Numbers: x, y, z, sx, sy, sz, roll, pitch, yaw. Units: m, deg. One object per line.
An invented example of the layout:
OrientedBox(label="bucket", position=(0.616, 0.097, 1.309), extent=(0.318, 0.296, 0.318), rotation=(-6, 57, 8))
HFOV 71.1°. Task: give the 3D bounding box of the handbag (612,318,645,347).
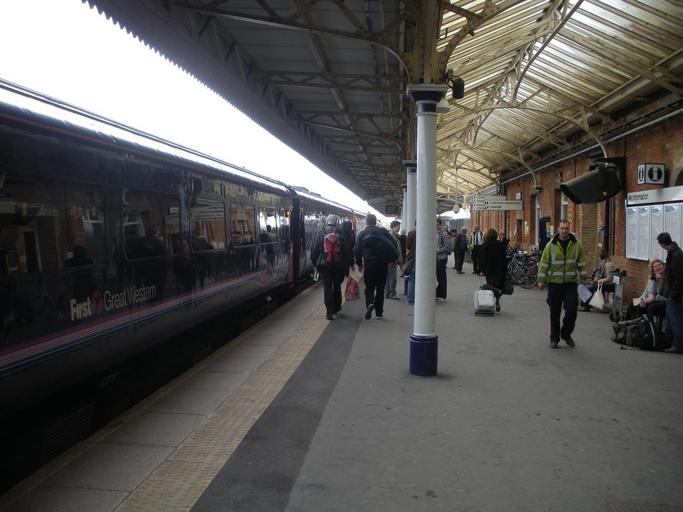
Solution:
OrientedBox(label="handbag", position=(4.957, 1.317, 8.301), extent=(0.501, 0.465, 0.361), rotation=(1, 3, 36))

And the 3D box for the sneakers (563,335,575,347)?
OrientedBox(label="sneakers", position=(3.914, 1.468, 8.241), extent=(0.108, 0.105, 0.243), rotation=(-18, -19, 3))

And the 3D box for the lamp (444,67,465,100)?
OrientedBox(label="lamp", position=(1.808, -2.703, 7.596), extent=(0.211, 0.471, 0.714), rotation=(0, 2, 19))

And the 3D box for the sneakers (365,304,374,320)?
OrientedBox(label="sneakers", position=(0.588, 1.233, 10.243), extent=(0.135, 0.351, 0.140), rotation=(5, 26, -9))

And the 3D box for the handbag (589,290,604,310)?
OrientedBox(label="handbag", position=(6.080, 1.047, 11.437), extent=(0.287, 0.543, 0.619), rotation=(1, 2, 28))

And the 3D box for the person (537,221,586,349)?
OrientedBox(label="person", position=(3.672, 0.487, 8.122), extent=(0.810, 2.128, 0.477), rotation=(-1, 2, -12))
